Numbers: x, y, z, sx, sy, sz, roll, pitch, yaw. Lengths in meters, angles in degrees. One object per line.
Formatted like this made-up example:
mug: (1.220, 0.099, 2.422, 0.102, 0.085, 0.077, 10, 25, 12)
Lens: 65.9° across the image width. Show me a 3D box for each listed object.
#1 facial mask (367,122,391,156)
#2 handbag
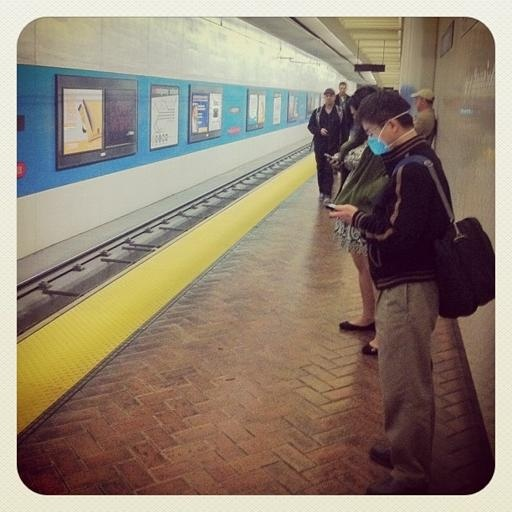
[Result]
facial mask: (0.527, -0.479, 1.682, 0.089, 0.058, 0.076, -13, 13, 18)
handbag: (0.763, 0.042, 1.463, 0.184, 0.354, 0.330, -5, 18, 27)
